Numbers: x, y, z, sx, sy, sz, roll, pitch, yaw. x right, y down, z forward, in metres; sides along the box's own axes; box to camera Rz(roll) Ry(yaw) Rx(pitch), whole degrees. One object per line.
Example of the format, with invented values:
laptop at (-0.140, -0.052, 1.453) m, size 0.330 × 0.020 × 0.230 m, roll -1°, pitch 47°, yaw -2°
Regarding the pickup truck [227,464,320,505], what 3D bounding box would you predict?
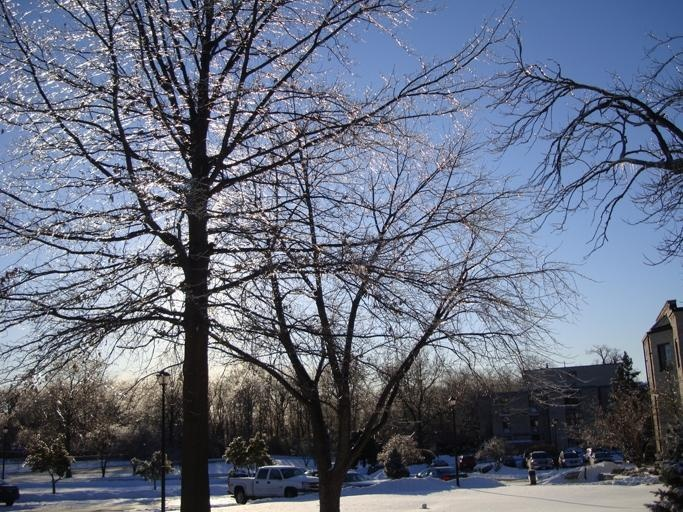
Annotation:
pickup truck at (-2.834, 9.300, 29.365) m, size 1.305 × 1.381 × 4.787 m, roll 16°, pitch -27°, yaw -39°
